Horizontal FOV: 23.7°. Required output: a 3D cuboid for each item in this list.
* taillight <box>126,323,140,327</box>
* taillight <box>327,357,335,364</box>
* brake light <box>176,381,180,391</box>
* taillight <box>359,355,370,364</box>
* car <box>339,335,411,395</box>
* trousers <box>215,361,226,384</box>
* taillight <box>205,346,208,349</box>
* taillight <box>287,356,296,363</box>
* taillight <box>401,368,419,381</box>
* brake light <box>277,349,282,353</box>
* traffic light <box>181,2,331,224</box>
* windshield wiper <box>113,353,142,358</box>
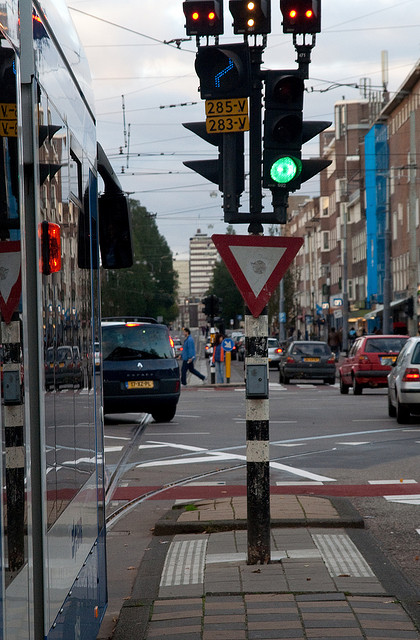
[{"bbox_3d":[-1.304,0.109,16.903,0.225,0.064,0.035,-4,0,-10],"label":"taillight"},{"bbox_3d":[4.048,1.393,33.194,0.215,0.211,0.441,-3,0,6],"label":"taillight"},{"bbox_3d":[-0.552,1.140,17.057,0.022,0.160,0.153,-3,0,15],"label":"brake light"},{"bbox_3d":[4.011,1.049,25.811,0.288,0.230,0.187,-4,0,23],"label":"taillight"},{"bbox_3d":[4.248,1.147,26.671,0.941,1.006,2.086,0,3,-3],"label":"car"},{"bbox_3d":[0.343,1.789,34.124,0.318,0.750,0.955,-3,0,1],"label":"trousers"},{"bbox_3d":[-0.221,2.103,72.673,0.199,0.203,0.328,-3,-3,-2],"label":"taillight"},{"bbox_3d":[2.721,1.345,33.119,0.050,0.209,0.363,-3,-1,-45],"label":"taillight"},{"bbox_3d":[3.451,0.950,16.978,0.216,0.254,0.193,1,-5,6],"label":"taillight"},{"bbox_3d":[3.485,1.582,49.612,0.160,0.189,0.043,-2,0,-21],"label":"brake light"},{"bbox_3d":[0.262,-1.297,5.938,0.843,1.387,0.998,-3,0,-1],"label":"traffic light"},{"bbox_3d":[-1.341,0.609,16.803,0.376,0.070,0.070,-3,8,-10],"label":"windshield wiper"}]
